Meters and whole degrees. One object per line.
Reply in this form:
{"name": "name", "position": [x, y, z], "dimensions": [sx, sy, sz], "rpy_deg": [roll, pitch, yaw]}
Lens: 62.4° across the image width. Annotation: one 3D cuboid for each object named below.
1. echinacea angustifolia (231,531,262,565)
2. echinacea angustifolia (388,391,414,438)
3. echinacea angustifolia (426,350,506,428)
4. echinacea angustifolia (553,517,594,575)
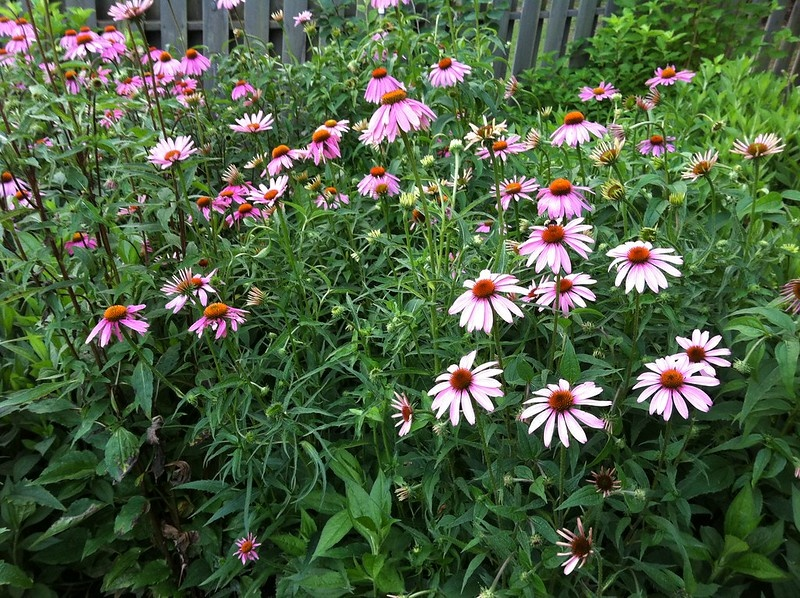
{"name": "echinacea angustifolia", "position": [-0.619, 1.015, 2.695], "dimensions": [0.108, 0.040, 0.134], "rpy_deg": [4, 55, -2]}
{"name": "echinacea angustifolia", "position": [0.013, 0.419, 2.451], "dimensions": [0.030, 0.136, 0.163], "rpy_deg": [-4, 78, -23]}
{"name": "echinacea angustifolia", "position": [0.211, 0.352, 2.230], "dimensions": [0.228, 0.296, 0.257], "rpy_deg": [1, 36, -6]}
{"name": "echinacea angustifolia", "position": [0.582, 0.818, 2.215], "dimensions": [0.176, 0.079, 0.205], "rpy_deg": [-11, 30, 33]}
